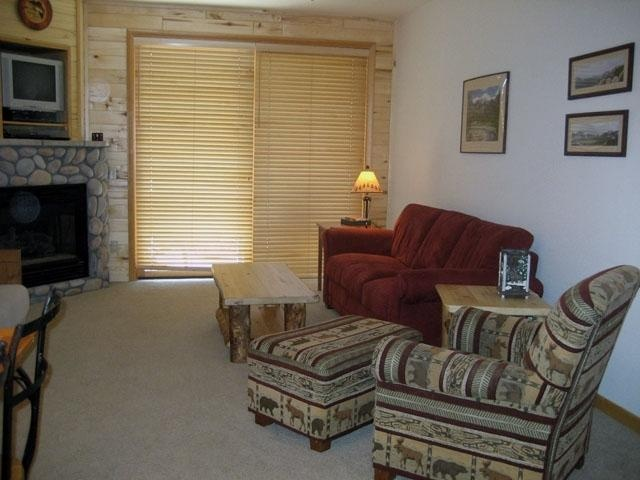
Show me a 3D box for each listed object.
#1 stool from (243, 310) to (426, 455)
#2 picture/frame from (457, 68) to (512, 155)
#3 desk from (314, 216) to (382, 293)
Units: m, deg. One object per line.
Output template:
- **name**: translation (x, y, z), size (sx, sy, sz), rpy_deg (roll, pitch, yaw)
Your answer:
- **stool**: translation (-0.013, 0.744, 2.849), size (0.899, 0.456, 0.624), rpy_deg (-8, 13, -42)
- **picture/frame**: translation (1.437, -1.098, 4.279), size (0.033, 0.854, 0.796), rpy_deg (-2, 8, -23)
- **desk**: translation (0.264, 0.147, 5.614), size (0.707, 0.865, 0.934), rpy_deg (-1, 9, -4)
